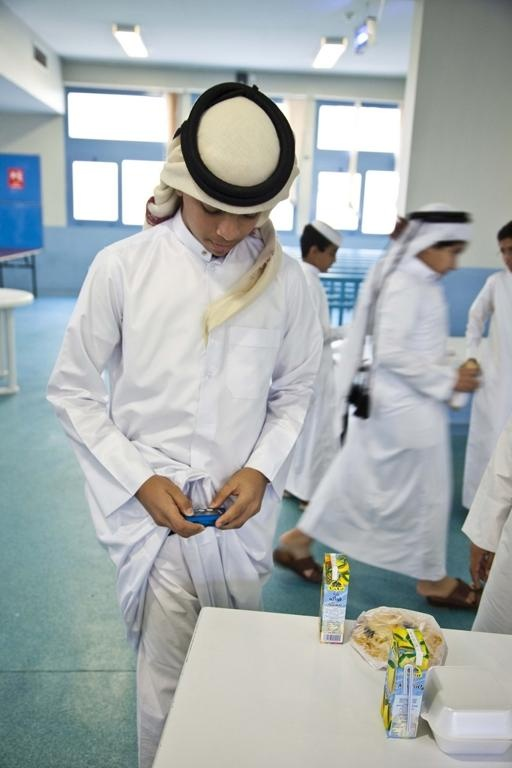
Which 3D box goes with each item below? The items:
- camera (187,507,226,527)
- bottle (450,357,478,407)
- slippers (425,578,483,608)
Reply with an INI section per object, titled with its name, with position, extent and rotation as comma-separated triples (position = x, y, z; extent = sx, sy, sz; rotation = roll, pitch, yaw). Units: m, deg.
[camera]
position = -0.083, 0.224, 0.987
extent = 0.073, 0.028, 0.033
rotation = 0, 9, -21
[bottle]
position = 0.570, 0.002, 1.611
extent = 0.048, 0.131, 0.071
rotation = 22, 2, -22
[slippers]
position = 0.594, 0.683, 1.891
extent = 0.219, 0.087, 0.079
rotation = -2, 25, 0
